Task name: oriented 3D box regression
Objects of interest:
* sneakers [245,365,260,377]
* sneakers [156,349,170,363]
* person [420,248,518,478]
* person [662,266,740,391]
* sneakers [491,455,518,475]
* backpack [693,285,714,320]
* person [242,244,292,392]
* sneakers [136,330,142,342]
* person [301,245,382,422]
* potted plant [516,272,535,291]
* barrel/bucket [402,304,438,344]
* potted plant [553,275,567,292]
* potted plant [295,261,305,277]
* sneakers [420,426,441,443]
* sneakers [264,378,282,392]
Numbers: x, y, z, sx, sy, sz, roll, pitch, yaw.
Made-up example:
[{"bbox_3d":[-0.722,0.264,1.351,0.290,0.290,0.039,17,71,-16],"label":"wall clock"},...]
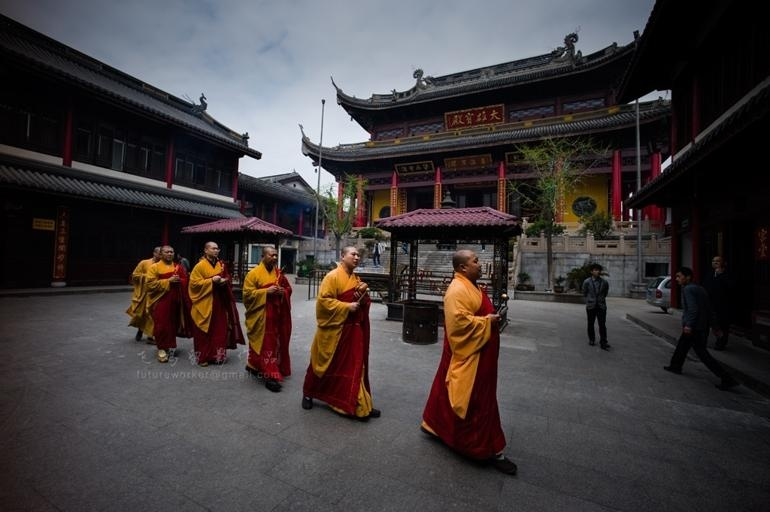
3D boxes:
[{"bbox_3d":[-2.627,2.277,9.598,0.211,0.112,0.264,17,-14,-41],"label":"sneakers"},{"bbox_3d":[-4.614,2.075,10.085,0.230,0.261,0.256,7,-23,-22],"label":"sneakers"},{"bbox_3d":[1.380,1.645,7.935,1.344,3.411,0.424,1,0,12],"label":"person"},{"bbox_3d":[6.608,1.439,10.144,0.689,2.839,1.254,1,0,-27],"label":"person"},{"bbox_3d":[1.920,3.308,7.675,0.193,0.139,0.363,-4,1,-42],"label":"sneakers"},{"bbox_3d":[6.726,0.994,10.202,0.290,0.804,0.556,-18,-16,41],"label":"backpack"},{"bbox_3d":[-2.244,1.160,9.440,0.857,2.184,0.636,2,0,21],"label":"person"},{"bbox_3d":[-5.709,1.831,11.225,0.189,0.289,0.117,3,8,-17],"label":"sneakers"},{"bbox_3d":[-0.765,1.317,8.665,1.266,2.593,0.616,1,0,-4],"label":"person"},{"bbox_3d":[6.300,1.020,21.195,0.842,1.063,0.747,0,-11,0],"label":"potted plant"},{"bbox_3d":[0.886,1.737,12.414,0.821,0.947,0.907,1,-7,-1],"label":"barrel/bucket"},{"bbox_3d":[7.367,1.183,20.417,0.635,0.896,0.672,-1,-12,14],"label":"potted plant"},{"bbox_3d":[-4.398,0.688,25.749,0.652,0.802,0.741,-2,-2,21],"label":"potted plant"},{"bbox_3d":[0.755,2.962,8.102,0.396,0.177,0.138,4,-4,36],"label":"sneakers"},{"bbox_3d":[-2.101,2.403,9.123,0.325,0.196,0.188,2,0,-4],"label":"sneakers"}]
